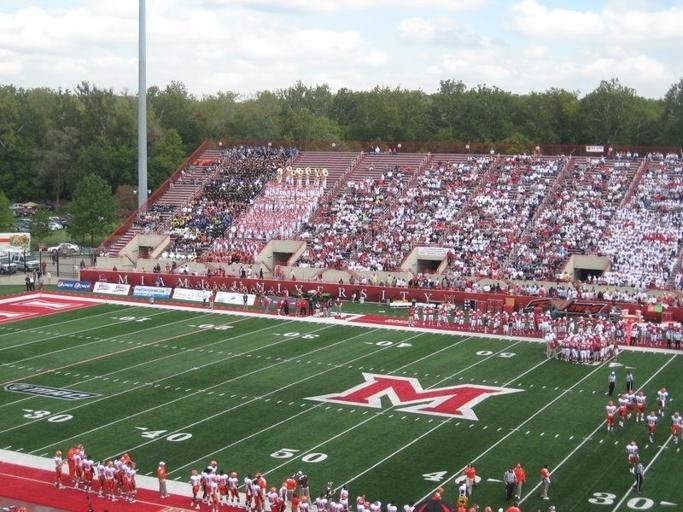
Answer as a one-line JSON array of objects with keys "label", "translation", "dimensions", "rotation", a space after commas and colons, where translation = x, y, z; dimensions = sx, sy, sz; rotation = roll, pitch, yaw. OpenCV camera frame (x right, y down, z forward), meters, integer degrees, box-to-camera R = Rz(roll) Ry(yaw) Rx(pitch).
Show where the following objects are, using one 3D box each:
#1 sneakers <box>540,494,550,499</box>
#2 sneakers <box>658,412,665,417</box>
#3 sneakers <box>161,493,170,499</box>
[{"label": "sneakers", "translation": [8.897, 10.478, 58.353], "dimensions": [0.260, 0.243, 0.132], "rotation": [-5, 24, 1]}, {"label": "sneakers", "translation": [15.511, 7.603, 64.638], "dimensions": [0.259, 0.236, 0.392], "rotation": [4, 5, 14]}, {"label": "sneakers", "translation": [-7.764, 10.501, 58.588], "dimensions": [0.296, 0.274, 0.153], "rotation": [1, 17, 0]}]
